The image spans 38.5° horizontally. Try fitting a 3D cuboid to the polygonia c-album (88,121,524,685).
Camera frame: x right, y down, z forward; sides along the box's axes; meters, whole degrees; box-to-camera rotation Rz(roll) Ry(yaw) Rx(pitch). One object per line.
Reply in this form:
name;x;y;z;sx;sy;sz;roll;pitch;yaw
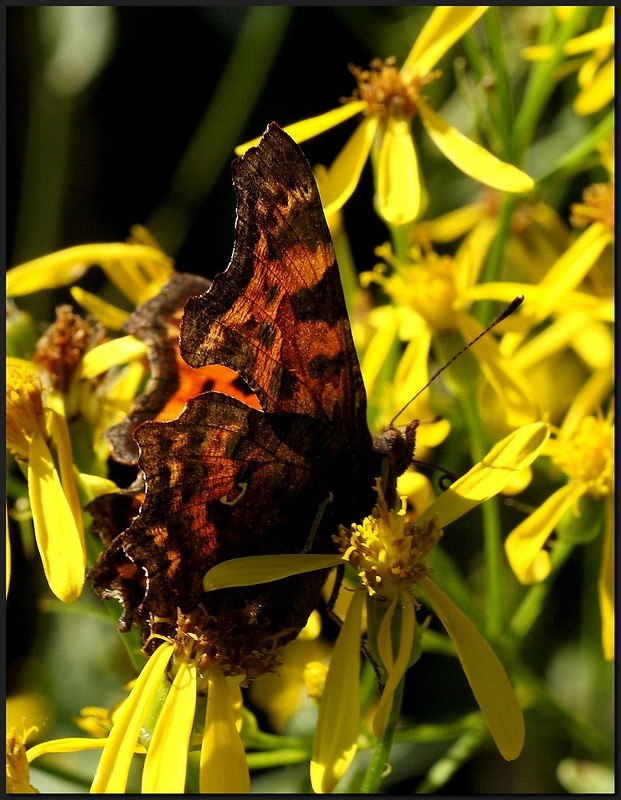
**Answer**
polygonia c-album;-0.011;0.083;1.149;0.392;0.739;0.647;-21;27;2
